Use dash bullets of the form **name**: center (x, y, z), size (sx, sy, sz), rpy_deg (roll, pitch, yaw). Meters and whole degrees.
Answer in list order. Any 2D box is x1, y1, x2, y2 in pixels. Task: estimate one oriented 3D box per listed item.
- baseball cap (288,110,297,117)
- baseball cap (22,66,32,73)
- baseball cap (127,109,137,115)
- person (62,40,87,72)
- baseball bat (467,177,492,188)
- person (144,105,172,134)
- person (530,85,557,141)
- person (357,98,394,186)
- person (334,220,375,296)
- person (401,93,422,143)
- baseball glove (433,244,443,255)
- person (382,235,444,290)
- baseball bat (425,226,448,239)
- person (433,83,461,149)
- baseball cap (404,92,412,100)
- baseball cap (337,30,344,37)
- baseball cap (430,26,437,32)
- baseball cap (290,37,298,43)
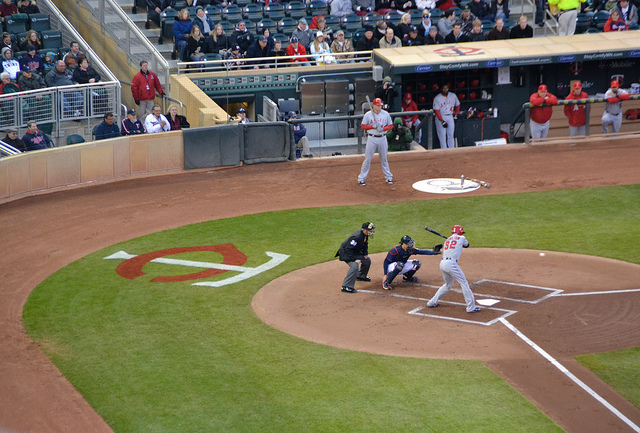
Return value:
- **baseball cap**: center (-1.002, -3.483, 27.537), size (0.238, 0.168, 0.332), rpy_deg (-5, 7, -32)
- **baseball cap**: center (-9.127, -4.528, 25.006), size (0.271, 0.136, 0.193), rpy_deg (5, 10, 39)
- **baseball cap**: center (-6.010, -3.299, 25.577), size (0.293, 0.148, 0.218), rpy_deg (12, 12, 38)
- **person**: center (-8.159, -5.235, 26.541), size (0.685, 0.999, 1.829), rpy_deg (-5, 11, -17)
- **baseball bat**: center (4.830, -1.018, 24.525), size (0.722, 0.163, 0.105), rpy_deg (19, 31, 26)
- **person**: center (-5.251, -3.080, 25.866), size (0.666, 1.117, 0.712), rpy_deg (22, 35, 34)
- **person**: center (7.535, -3.478, 27.309), size (0.823, 1.883, 0.808), rpy_deg (0, 12, 13)
- **person**: center (1.667, -2.232, 24.396), size (1.024, 2.606, 0.735), rpy_deg (-6, 12, -16)
- **person**: center (0.985, 0.889, 19.186), size (0.803, 1.614, 1.437), rpy_deg (4, 12, 29)
- **person**: center (3.270, -3.502, 28.913), size (0.730, 1.786, 1.276), rpy_deg (-1, 11, 6)
- **baseball glove**: center (2.689, 0.756, 18.527), size (0.255, 0.228, 0.180), rpy_deg (2, 2, 7)
- **person**: center (2.188, 0.962, 18.929), size (1.373, 1.140, 1.182), rpy_deg (5, 21, 34)
- **baseball bat**: center (2.960, 0.419, 20.662), size (0.534, 0.071, 0.090), rpy_deg (27, 5, -18)
- **person**: center (4.441, -3.512, 28.513), size (0.947, 2.199, 0.564), rpy_deg (-10, 14, -35)
- **baseball cap**: center (3.137, -4.281, 28.879), size (0.235, 0.233, 0.508), rpy_deg (-2, 10, 1)
- **baseball cap**: center (0.730, -6.795, 30.012), size (0.204, 0.145, 0.181), rpy_deg (11, 15, 34)
- **baseball cap**: center (4.210, -6.970, 30.112), size (0.202, 0.198, 0.266), rpy_deg (0, 7, 4)
- **baseball cap**: center (-0.979, -6.540, 30.071), size (0.312, 0.188, 0.229), rpy_deg (-5, 11, -17)
